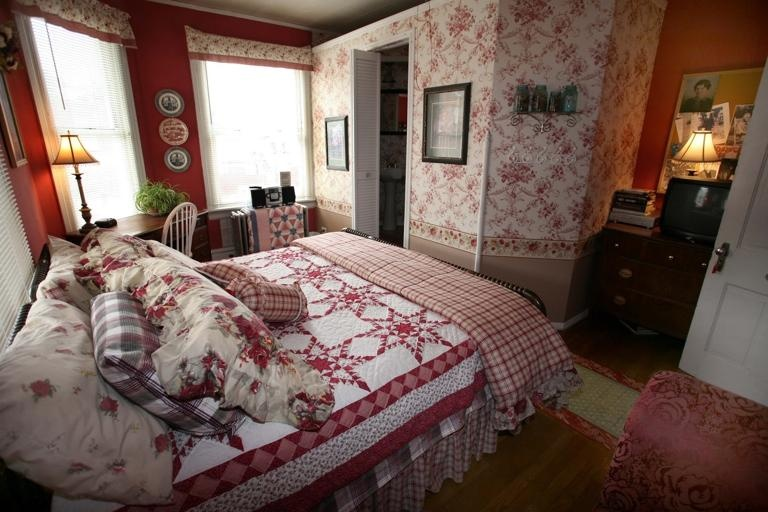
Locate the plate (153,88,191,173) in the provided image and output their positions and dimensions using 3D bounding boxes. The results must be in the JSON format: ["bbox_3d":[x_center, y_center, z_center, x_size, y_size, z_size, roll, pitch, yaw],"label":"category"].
[{"bbox_3d":[-2.316,-1.367,5.135,0.307,0.877,0.066,-15,23,-36],"label":"plate"}]

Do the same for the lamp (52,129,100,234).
[{"bbox_3d":[-2.630,-0.638,4.025,0.334,0.843,0.546,-8,20,-21],"label":"lamp"}]

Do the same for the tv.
[{"bbox_3d":[2.577,-0.400,3.993,0.567,0.492,0.333,10,4,1],"label":"tv"}]

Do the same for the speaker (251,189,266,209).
[{"bbox_3d":[-1.420,-0.655,5.290,0.164,0.224,0.099,-7,20,-19],"label":"speaker"}]

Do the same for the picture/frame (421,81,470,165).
[{"bbox_3d":[0.589,-1.255,4.328,0.060,0.822,0.718,-13,21,-42],"label":"picture/frame"}]

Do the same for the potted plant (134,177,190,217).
[{"bbox_3d":[-2.333,-0.634,4.856,0.483,0.291,0.467,8,-9,5],"label":"potted plant"}]

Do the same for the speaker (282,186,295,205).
[{"bbox_3d":[-1.126,-0.709,5.456,0.196,0.255,0.138,-1,21,-16],"label":"speaker"}]

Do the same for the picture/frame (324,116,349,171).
[{"bbox_3d":[-0.557,-1.358,5.551,0.050,0.581,0.584,-10,23,-30],"label":"picture/frame"}]

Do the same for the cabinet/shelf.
[{"bbox_3d":[2.348,0.223,4.017,0.521,0.795,0.836,-15,23,-40],"label":"cabinet/shelf"}]

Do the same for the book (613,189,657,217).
[{"bbox_3d":[2.304,-0.506,4.301,0.330,0.201,0.195,12,22,35],"label":"book"}]
